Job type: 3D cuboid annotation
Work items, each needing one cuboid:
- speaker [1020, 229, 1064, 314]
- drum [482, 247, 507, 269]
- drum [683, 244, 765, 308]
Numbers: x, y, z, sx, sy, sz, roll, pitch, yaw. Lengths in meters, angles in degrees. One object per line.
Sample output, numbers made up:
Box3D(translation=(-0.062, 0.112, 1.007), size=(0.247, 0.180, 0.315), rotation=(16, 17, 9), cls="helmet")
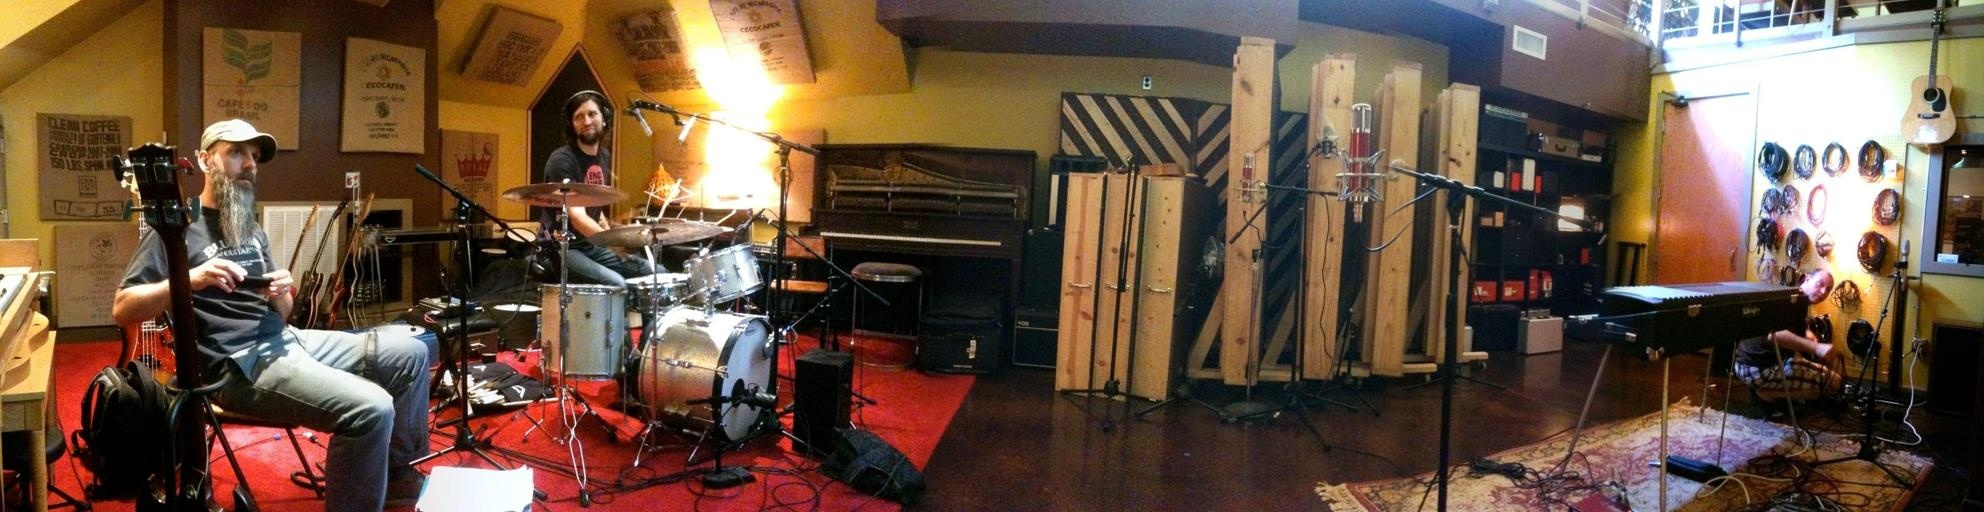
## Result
Box3D(translation=(1.249, 0.334, 25.783), size=(1.210, 2.087, 0.312), rotation=(-3, -3, 5), cls="speaker")
Box3D(translation=(-12.886, 0.011, 26.709), size=(0.812, 0.441, 0.620), rotation=(2, 4, -10), cls="drum")
Box3D(translation=(-6.022, 0.393, 24.616), size=(2.375, 0.945, 1.778), rotation=(-12, 3, 4), cls="drum")
